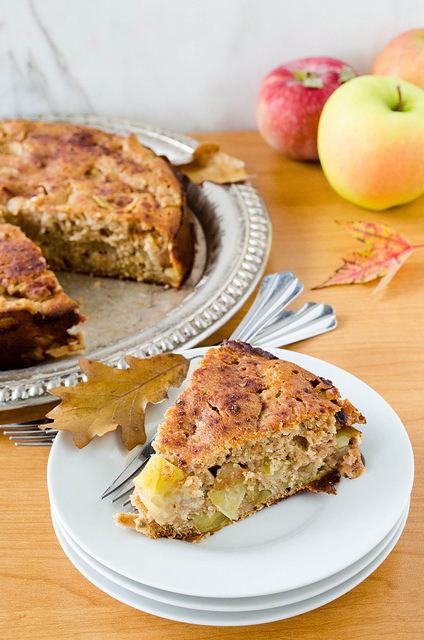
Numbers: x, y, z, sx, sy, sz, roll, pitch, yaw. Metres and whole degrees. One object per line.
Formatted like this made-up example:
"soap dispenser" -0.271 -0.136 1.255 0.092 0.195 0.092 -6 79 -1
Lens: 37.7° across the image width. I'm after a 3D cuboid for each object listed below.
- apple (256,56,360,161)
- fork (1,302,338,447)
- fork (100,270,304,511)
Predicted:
"apple" 0.250 -0.519 1.541 0.256 0.225 0.226 -3 57 11
"fork" -0.059 0.079 0.886 0.414 0.066 0.056 -23 10 -8
"fork" -0.005 0.099 0.852 0.058 0.038 0.437 37 65 21
